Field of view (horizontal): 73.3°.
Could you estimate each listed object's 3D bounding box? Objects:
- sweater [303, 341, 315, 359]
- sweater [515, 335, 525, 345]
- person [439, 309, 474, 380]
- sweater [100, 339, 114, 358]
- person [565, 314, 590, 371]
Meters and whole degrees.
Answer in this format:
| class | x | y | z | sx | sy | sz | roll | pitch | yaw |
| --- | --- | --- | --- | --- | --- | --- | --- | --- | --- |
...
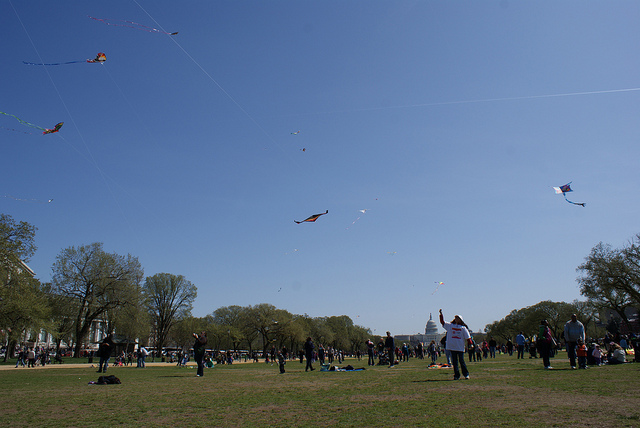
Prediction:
| class | x | y | z | sx | sy | sz | roll | pitch | yaw |
| --- | --- | --- | --- | --- | --- | --- | --- | --- | --- |
| sweater | -0.711 | 8.739 | 27.624 | 0.449 | 1.032 | 0.603 | 3 | -24 | -13 |
| sweater | 15.950 | 10.084 | 34.268 | 0.564 | 0.776 | 1.394 | -14 | -26 | 23 |
| person | 5.478 | 5.262 | 17.260 | 1.330 | 2.690 | 0.680 | -3 | -15 | 28 |
| sweater | -12.247 | 7.653 | 24.610 | 0.570 | 1.148 | 1.402 | 9 | -26 | -25 |
| person | 12.190 | 6.058 | 20.559 | 0.812 | 2.479 | 0.678 | -3 | -17 | 22 |
